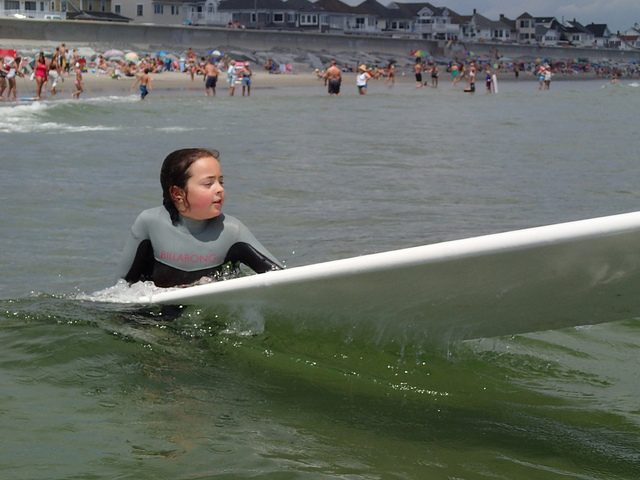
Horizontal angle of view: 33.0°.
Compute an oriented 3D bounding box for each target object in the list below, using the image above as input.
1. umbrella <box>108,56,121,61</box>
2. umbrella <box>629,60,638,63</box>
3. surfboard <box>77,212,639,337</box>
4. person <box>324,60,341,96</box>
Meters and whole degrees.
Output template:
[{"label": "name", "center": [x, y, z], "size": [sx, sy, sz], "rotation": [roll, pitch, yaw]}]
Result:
[{"label": "umbrella", "center": [-8.856, -7.819, 46.408], "size": [0.517, 0.138, 0.478], "rotation": [2, -1, -28]}, {"label": "umbrella", "center": [30.123, -17.373, 104.721], "size": [1.033, 0.289, 1.106], "rotation": [2, 4, 10]}, {"label": "surfboard", "center": [-0.106, 0.153, 8.197], "size": [4.729, 0.995, 0.339], "rotation": [1, 55, 21]}, {"label": "person", "center": [0.376, -5.136, 34.721], "size": [0.495, 0.932, 0.897], "rotation": [3, 11, 0]}]
